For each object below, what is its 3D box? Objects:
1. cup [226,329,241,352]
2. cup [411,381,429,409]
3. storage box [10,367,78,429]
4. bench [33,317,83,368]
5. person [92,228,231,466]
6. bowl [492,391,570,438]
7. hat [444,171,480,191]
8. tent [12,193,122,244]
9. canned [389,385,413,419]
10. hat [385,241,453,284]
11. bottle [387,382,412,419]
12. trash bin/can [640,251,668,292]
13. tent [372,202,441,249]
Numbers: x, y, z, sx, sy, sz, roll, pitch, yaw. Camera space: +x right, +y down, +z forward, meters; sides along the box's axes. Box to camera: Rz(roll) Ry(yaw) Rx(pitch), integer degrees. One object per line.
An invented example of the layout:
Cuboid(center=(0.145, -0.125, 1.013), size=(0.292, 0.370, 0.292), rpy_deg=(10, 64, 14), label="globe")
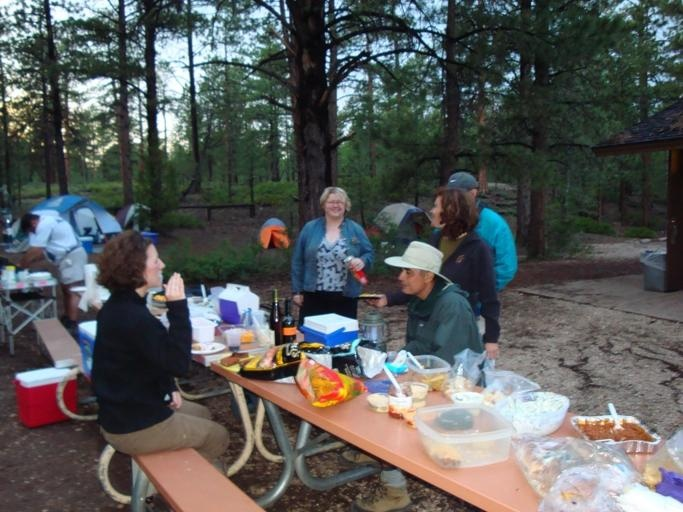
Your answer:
Cuboid(center=(-0.958, 0.744, 5.604), size=(0.167, 0.152, 0.170), rpy_deg=(-1, 1, 0), label="cup")
Cuboid(center=(0.587, 1.040, 4.754), size=(0.146, 0.110, 0.148), rpy_deg=(0, -2, 0), label="cup")
Cuboid(center=(-3.227, 1.572, 6.931), size=(0.572, 0.500, 0.306), rpy_deg=(-8, 22, -37), label="storage box")
Cuboid(center=(-3.368, 1.206, 7.574), size=(0.343, 0.316, 1.294), rpy_deg=(-10, 25, -31), label="bench")
Cuboid(center=(-1.517, 0.817, 5.127), size=(0.950, 2.028, 0.583), rpy_deg=(-4, 8, -22), label="person")
Cuboid(center=(1.362, 1.122, 4.553), size=(0.476, 0.262, 0.319), rpy_deg=(-4, 8, -25), label="bowl")
Cuboid(center=(1.188, -0.732, 6.256), size=(0.322, 0.127, 0.231), rpy_deg=(9, 14, 40), label="hat")
Cuboid(center=(-7.580, -1.125, 18.683), size=(2.680, 1.146, 2.553), rpy_deg=(-2, 17, -34), label="tent")
Cuboid(center=(0.422, 1.081, 4.652), size=(0.198, 0.230, 0.199), rpy_deg=(0, -4, -2), label="canned")
Cuboid(center=(0.693, 0.026, 5.502), size=(0.441, 0.191, 0.365), rpy_deg=(14, 1, -20), label="hat")
Cuboid(center=(0.431, 1.074, 4.657), size=(0.203, 0.235, 0.205), rpy_deg=(0, -4, -4), label="bottle")
Cuboid(center=(5.552, 0.259, 11.354), size=(0.355, 0.704, 0.706), rpy_deg=(0, 7, 9), label="trash bin/can")
Cuboid(center=(1.927, -0.865, 17.489), size=(1.479, 0.635, 1.467), rpy_deg=(-7, 11, -29), label="tent")
